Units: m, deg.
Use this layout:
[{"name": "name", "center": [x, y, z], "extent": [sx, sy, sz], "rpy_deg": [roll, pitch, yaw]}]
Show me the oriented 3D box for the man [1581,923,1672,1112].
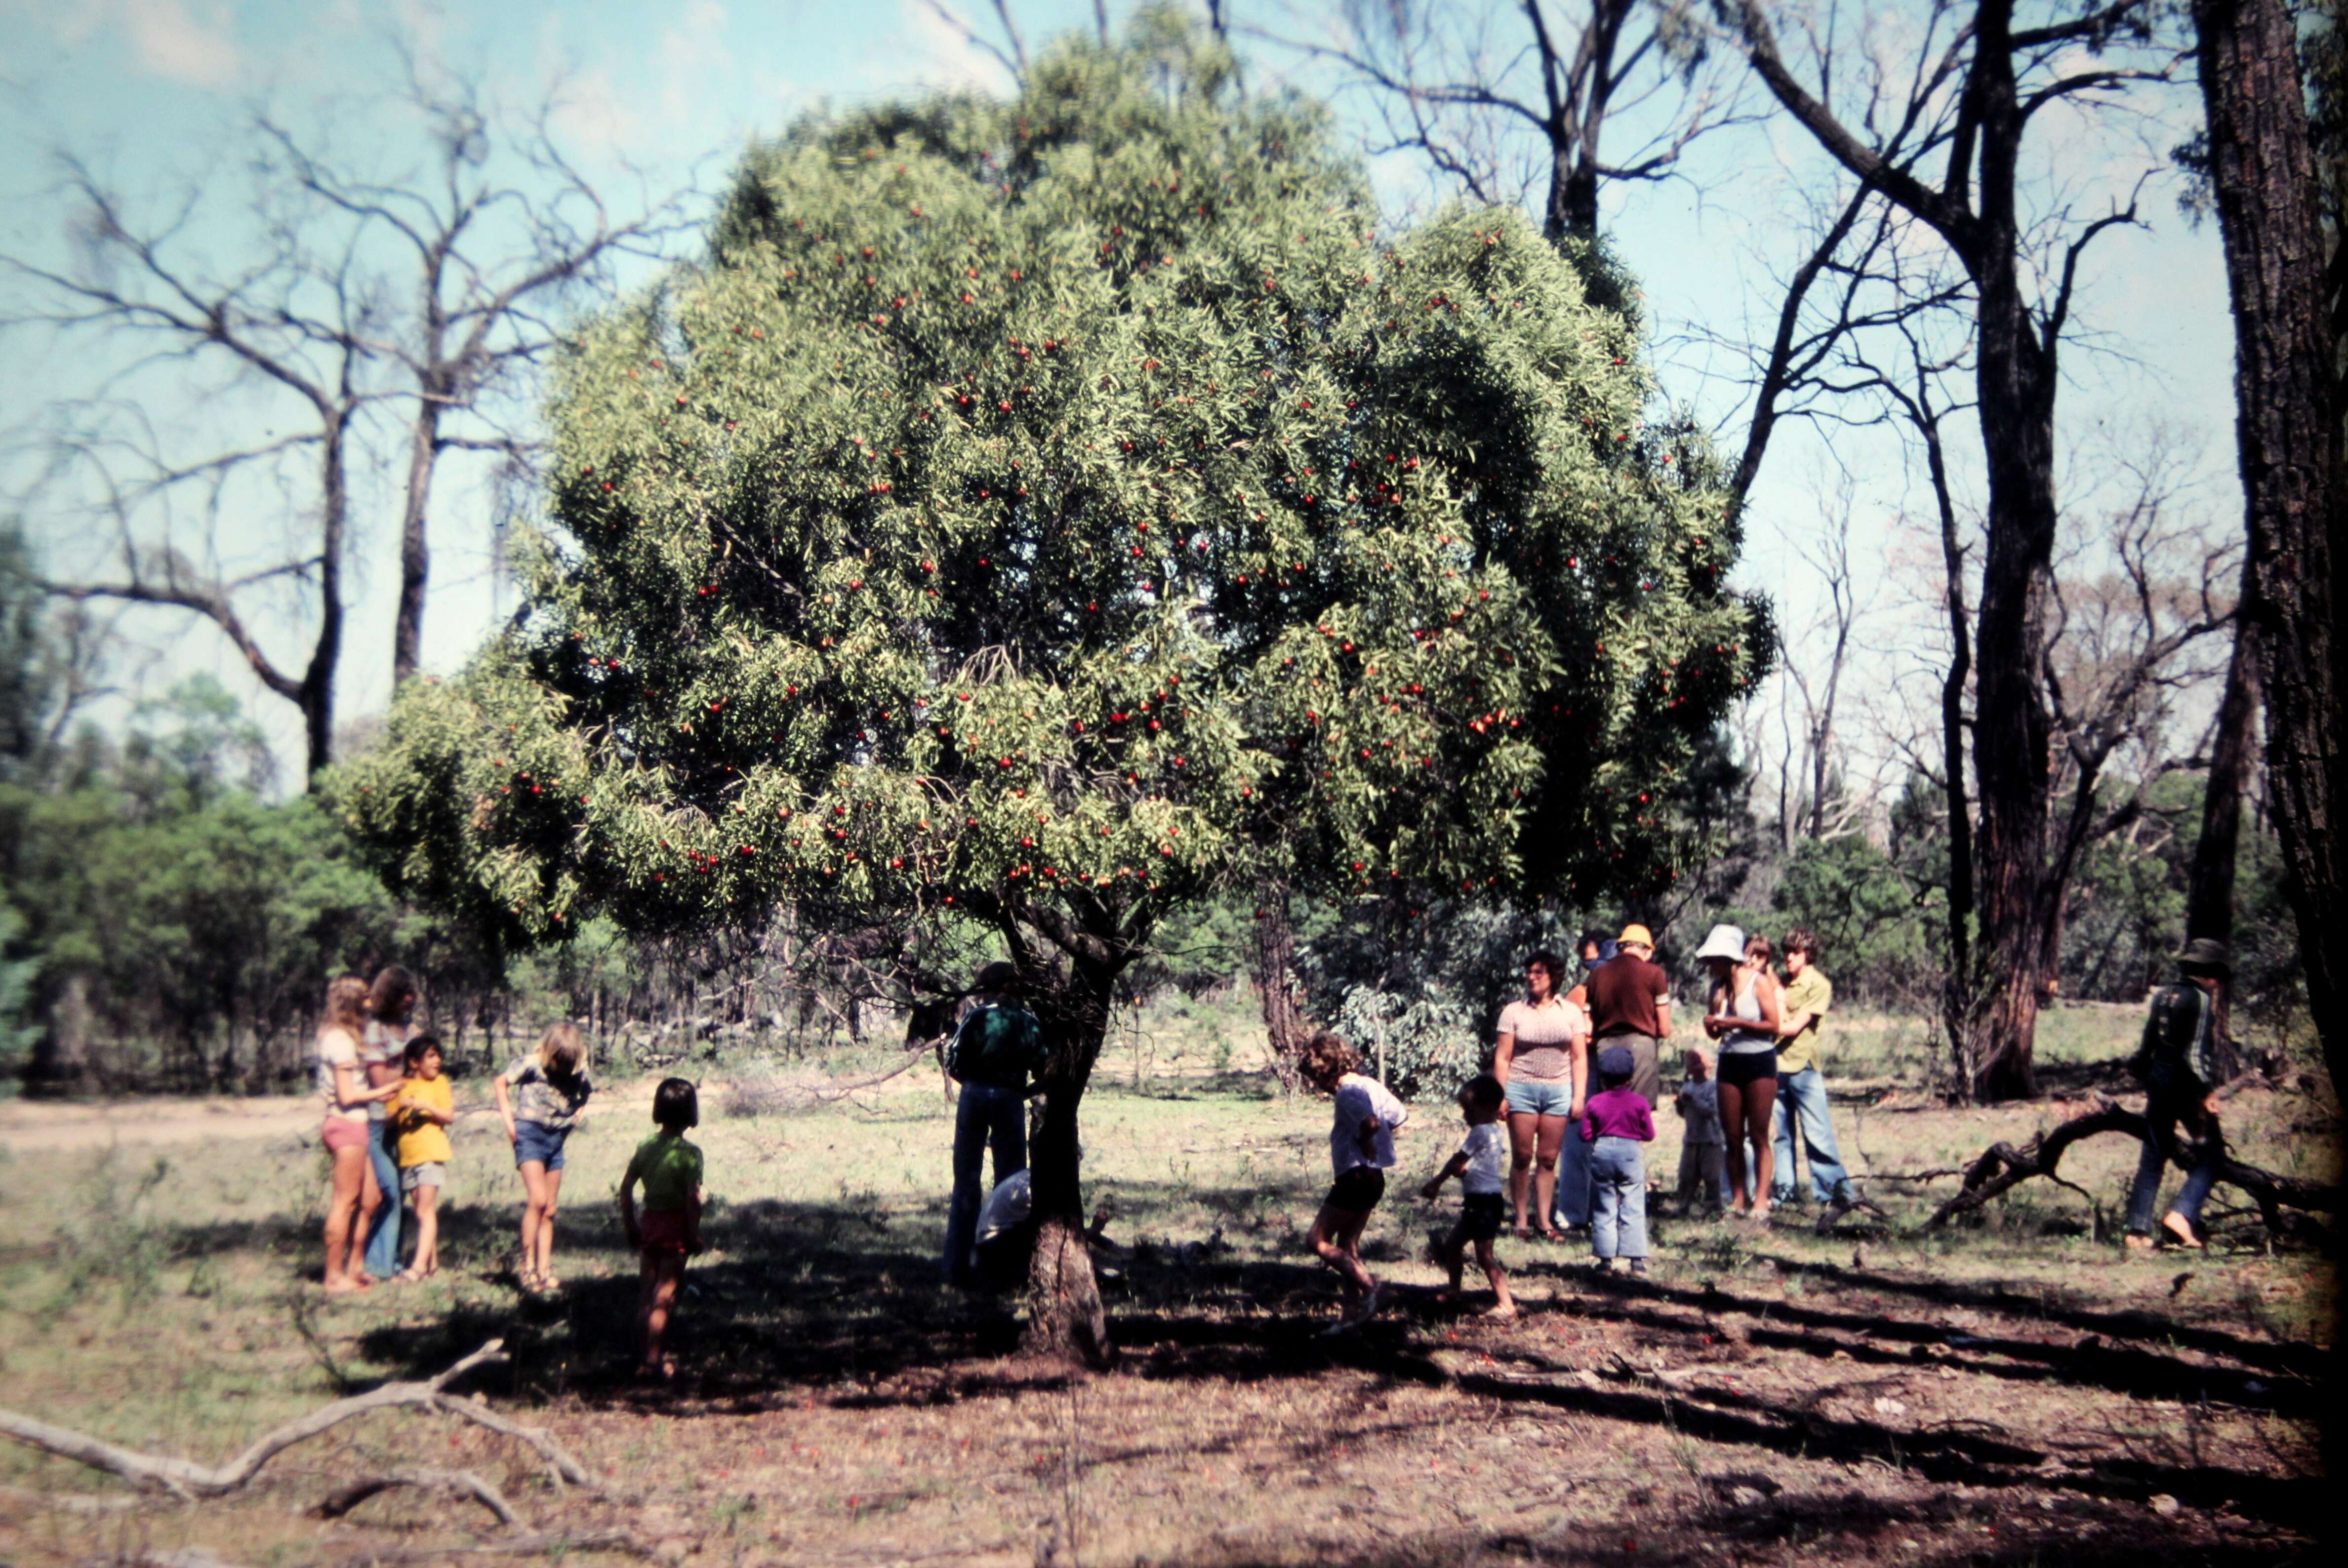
[{"name": "man", "center": [4.091, 2.438, 20.227], "extent": [0.714, 2.322, 0.711], "rpy_deg": [-3, -14, 34]}]
